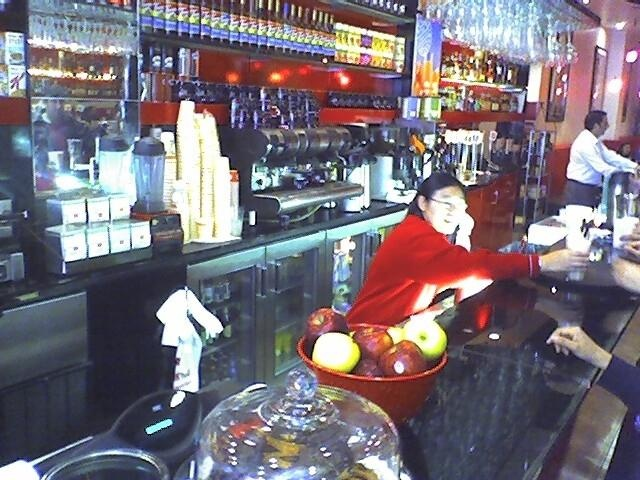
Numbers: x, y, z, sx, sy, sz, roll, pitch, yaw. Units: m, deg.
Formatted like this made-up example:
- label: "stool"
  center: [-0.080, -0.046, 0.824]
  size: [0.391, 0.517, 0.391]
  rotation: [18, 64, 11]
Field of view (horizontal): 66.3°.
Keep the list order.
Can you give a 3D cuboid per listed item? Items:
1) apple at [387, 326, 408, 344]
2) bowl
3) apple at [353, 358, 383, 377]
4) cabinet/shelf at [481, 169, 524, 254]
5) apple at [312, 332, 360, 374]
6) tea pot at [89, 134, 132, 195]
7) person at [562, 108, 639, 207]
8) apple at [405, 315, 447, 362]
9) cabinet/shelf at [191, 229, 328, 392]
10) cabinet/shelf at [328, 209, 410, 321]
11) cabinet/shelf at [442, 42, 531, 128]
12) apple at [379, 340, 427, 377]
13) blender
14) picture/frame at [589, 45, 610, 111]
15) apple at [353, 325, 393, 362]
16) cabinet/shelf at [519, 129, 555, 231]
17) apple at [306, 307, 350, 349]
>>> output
- label: "apple"
  center: [0.207, 0.250, 1.318]
  size: [0.038, 0.022, 0.039]
  rotation: [-5, 14, -21]
- label: "bowl"
  center: [0.190, 0.347, 1.201]
  size: [0.221, 0.110, 0.224]
  rotation: [-3, 4, 0]
- label: "apple"
  center: [0.122, 0.287, 1.132]
  size: [0.037, 0.038, 0.038]
  rotation: [0, 2, 1]
- label: "cabinet/shelf"
  center: [3.099, -0.577, 8.020]
  size: [0.648, 1.188, 1.207]
  rotation: [4, 16, 36]
- label: "apple"
  center: [0.032, 0.285, 1.202]
  size: [0.131, 0.091, 0.129]
  rotation: [10, -23, -24]
- label: "tea pot"
  center: [-1.128, -0.419, 2.693]
  size: [0.260, 0.463, 0.261]
  rotation: [3, 12, -1]
- label: "person"
  center: [4.109, -1.206, 7.323]
  size: [0.691, 1.382, 0.709]
  rotation: [9, 15, 31]
- label: "apple"
  center: [0.271, 0.241, 1.237]
  size: [0.097, 0.104, 0.094]
  rotation: [5, -10, 19]
- label: "cabinet/shelf"
  center: [-0.497, 0.527, 3.423]
  size: [0.426, 1.108, 1.164]
  rotation: [14, 17, 39]
- label: "cabinet/shelf"
  center: [0.272, 0.141, 3.069]
  size: [0.324, 0.617, 0.614]
  rotation: [18, 28, 40]
- label: "cabinet/shelf"
  center: [2.571, -2.312, 7.456]
  size: [1.969, 1.015, 0.397]
  rotation: [-5, 15, -28]
- label: "apple"
  center: [0.188, 0.272, 1.118]
  size: [0.077, 0.079, 0.074]
  rotation: [0, 9, -19]
- label: "blender"
  center: [-0.911, -0.258, 2.760]
  size: [0.279, 0.610, 0.263]
  rotation: [11, 16, 38]
- label: "picture/frame"
  center: [6.219, -3.550, 10.903]
  size: [0.125, 1.295, 1.358]
  rotation: [10, 16, 37]
- label: "apple"
  center: [0.133, 0.255, 1.240]
  size: [0.068, 0.072, 0.068]
  rotation: [4, 6, -25]
- label: "cabinet/shelf"
  center: [3.632, -1.013, 8.271]
  size: [0.464, 1.538, 0.417]
  rotation: [-14, 22, -34]
- label: "apple"
  center: [0.014, 0.227, 1.302]
  size: [0.094, 0.101, 0.099]
  rotation: [-4, 30, -34]
